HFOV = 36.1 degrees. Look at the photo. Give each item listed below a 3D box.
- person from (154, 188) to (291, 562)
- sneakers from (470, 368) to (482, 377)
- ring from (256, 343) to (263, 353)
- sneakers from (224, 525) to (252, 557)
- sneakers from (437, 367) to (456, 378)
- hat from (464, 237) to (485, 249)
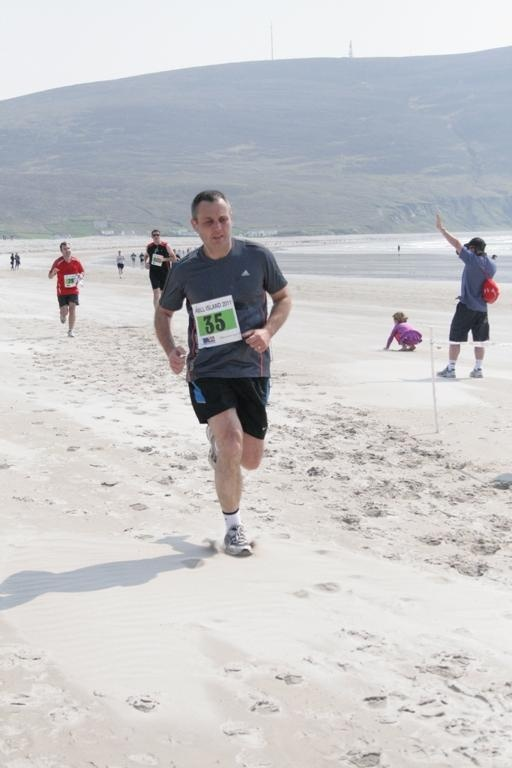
[{"bbox_3d":[-0.187,-0.062,3.937,0.671,1.740,0.501,4,8,0],"label":"person"},{"bbox_3d":[2.699,-0.138,9.548,0.144,0.124,0.295,6,7,15],"label":"sneakers"},{"bbox_3d":[0.021,-0.171,3.731,0.036,0.050,0.030,22,46,24],"label":"ring"},{"bbox_3d":[-0.081,0.769,3.858,0.116,0.127,0.123,1,8,-24],"label":"sneakers"},{"bbox_3d":[2.331,-0.138,9.531,0.217,0.133,0.220,5,7,12],"label":"sneakers"},{"bbox_3d":[2.641,-1.696,9.465,0.186,0.136,0.254,-8,26,-37],"label":"hat"}]
